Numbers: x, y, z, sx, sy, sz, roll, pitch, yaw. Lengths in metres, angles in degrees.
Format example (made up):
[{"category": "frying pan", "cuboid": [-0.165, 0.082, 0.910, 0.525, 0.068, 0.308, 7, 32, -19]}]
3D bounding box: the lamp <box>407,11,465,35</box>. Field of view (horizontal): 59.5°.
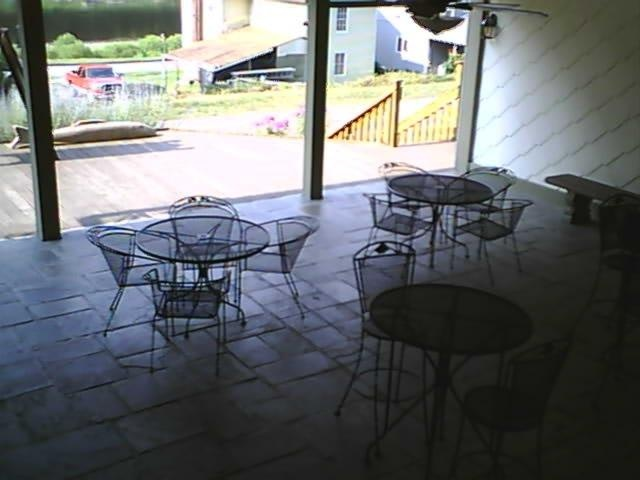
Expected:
[{"category": "lamp", "cuboid": [1.253, -2.284, 5.935, 0.422, 0.198, 1.134, 7, 22, 16]}]
